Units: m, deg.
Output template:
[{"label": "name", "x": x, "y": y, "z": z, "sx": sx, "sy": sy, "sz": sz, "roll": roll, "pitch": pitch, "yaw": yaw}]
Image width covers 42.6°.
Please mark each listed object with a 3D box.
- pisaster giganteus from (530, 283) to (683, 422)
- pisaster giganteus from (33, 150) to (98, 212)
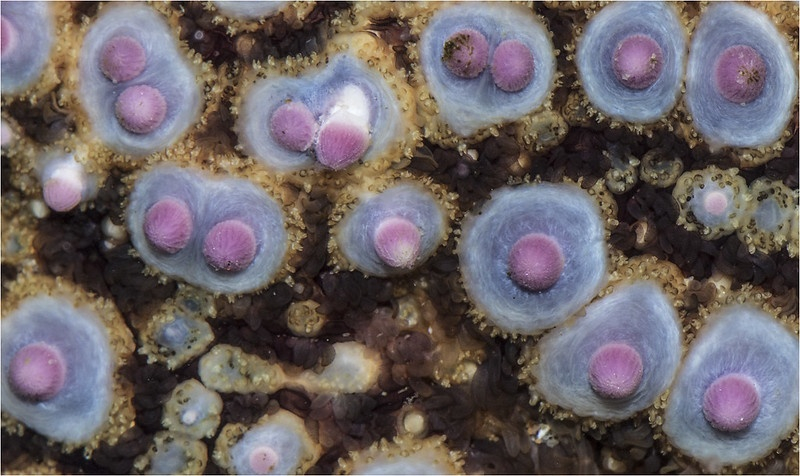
[{"label": "pisaster giganteus", "x": 1.899, "y": 1.007, "z": 9.308, "sx": 1.256, "sy": 1.066, "sz": 0.717, "roll": 2, "pitch": -37, "yaw": 14}, {"label": "pisaster giganteus", "x": -3.062, "y": -0.499, "z": 9.342, "sx": 0.577, "sy": 0.486, "sz": 0.339, "roll": 25, "pitch": -37, "yaw": -17}]
